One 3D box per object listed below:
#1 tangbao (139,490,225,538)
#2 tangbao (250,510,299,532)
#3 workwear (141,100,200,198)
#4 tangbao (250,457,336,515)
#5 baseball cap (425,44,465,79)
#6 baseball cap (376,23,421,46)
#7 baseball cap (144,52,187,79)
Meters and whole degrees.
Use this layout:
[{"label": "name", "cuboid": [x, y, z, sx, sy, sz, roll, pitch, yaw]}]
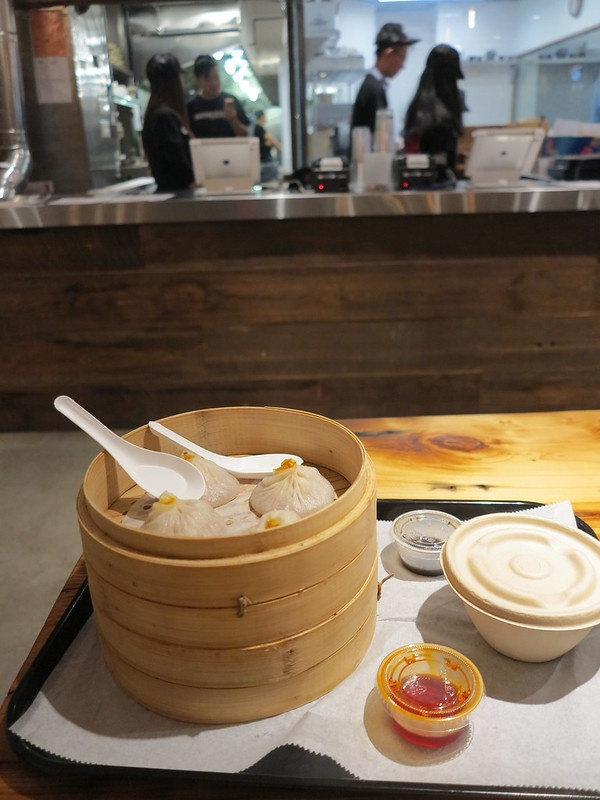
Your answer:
[{"label": "tangbao", "cuboid": [-0.102, 0.102, 0.685, 0.051, 0.021, 0.052, 20, 19, 41]}, {"label": "tangbao", "cuboid": [-0.024, 0.112, 0.660, 0.028, 0.013, 0.025, -2, 21, 7]}, {"label": "workwear", "cuboid": [-0.671, -1.260, 3.629, 0.234, 0.393, 0.400, -7, 27, -9]}, {"label": "tangbao", "cuboid": [-0.016, 0.096, 0.752, 0.072, 0.039, 0.067, 7, 26, 20]}, {"label": "baseball cap", "cuboid": [0.760, -1.784, 3.818, 0.183, 0.163, 0.131, 2, 28, 6]}, {"label": "baseball cap", "cuboid": [0.489, -1.916, 3.812, 0.178, 0.124, 0.159, -7, 27, -11]}, {"label": "baseball cap", "cuboid": [-0.699, -1.685, 3.649, 0.146, 0.115, 0.249, -8, 26, -12]}]
